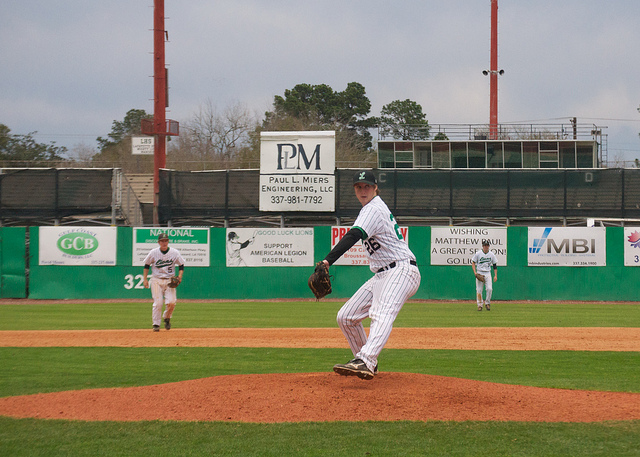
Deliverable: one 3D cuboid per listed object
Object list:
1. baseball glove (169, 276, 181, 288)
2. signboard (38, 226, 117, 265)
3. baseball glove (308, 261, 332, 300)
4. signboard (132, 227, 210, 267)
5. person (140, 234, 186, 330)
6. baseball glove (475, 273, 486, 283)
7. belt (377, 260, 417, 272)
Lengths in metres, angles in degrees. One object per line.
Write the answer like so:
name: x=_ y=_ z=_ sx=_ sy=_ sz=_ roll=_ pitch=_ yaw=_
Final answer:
baseball glove: x=-4.102 y=1.507 z=36.100 sx=0.228 sy=0.282 sz=0.297 roll=18 pitch=4 yaw=-4
signboard: x=-8.355 y=0.550 z=44.058 sx=2.703 sy=1.362 sz=0.382 roll=-1 pitch=15 yaw=-4
baseball glove: x=0.094 y=1.284 z=30.284 sx=0.488 sy=0.689 sz=0.238 roll=10 pitch=-44 yaw=8
signboard: x=-5.118 y=0.588 z=44.169 sx=2.619 sy=1.353 sz=0.576 roll=-1 pitch=15 yaw=-4
person: x=-4.441 y=1.573 z=36.002 sx=0.967 sy=2.767 sz=1.384 roll=1 pitch=15 yaw=7
baseball glove: x=5.011 y=1.510 z=39.786 sx=0.255 sy=0.146 sz=0.204 roll=14 pitch=-36 yaw=28
belt: x=1.854 y=0.880 z=30.417 sx=0.910 sy=0.290 sz=0.136 roll=-2 pitch=15 yaw=-7
